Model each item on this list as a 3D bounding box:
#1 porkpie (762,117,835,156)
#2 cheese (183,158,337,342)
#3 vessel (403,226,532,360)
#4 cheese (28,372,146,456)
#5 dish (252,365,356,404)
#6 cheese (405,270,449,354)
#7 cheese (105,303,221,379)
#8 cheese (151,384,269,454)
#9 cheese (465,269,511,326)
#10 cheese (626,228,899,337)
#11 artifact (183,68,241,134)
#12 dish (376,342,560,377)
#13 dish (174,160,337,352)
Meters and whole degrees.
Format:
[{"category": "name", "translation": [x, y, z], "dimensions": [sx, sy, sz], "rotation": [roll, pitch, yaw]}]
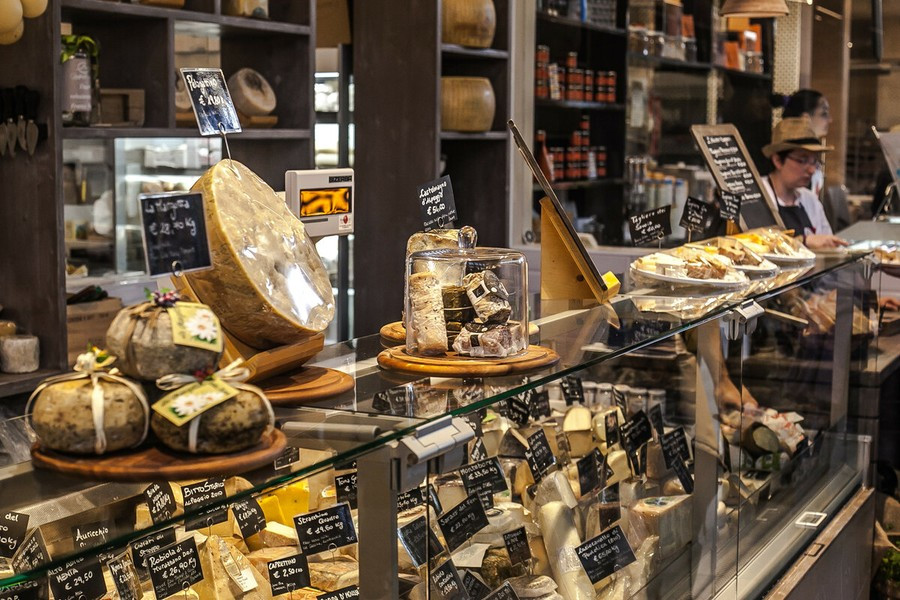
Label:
[{"category": "porkpie", "translation": [2.016, -0.970, 4.223], "dimensions": [0.301, 0.213, 0.442], "rotation": [0, 9, 22]}, {"category": "cheese", "translation": [-0.360, -0.105, 1.294], "dimensions": [0.097, 0.313, 0.308], "rotation": [-22, -41, 16]}, {"category": "vessel", "translation": [0.032, -0.018, 1.476], "dimensions": [0.226, 0.250, 0.223], "rotation": [0, -1, 1]}, {"category": "cheese", "translation": [-0.490, 0.145, 0.973], "dimensions": [0.139, 0.099, 0.145], "rotation": [5, 3, -1]}, {"category": "dish", "translation": [-0.249, 0.147, 1.240], "dimensions": [0.146, 0.026, 0.180], "rotation": [2, 10, 32]}, {"category": "cheese", "translation": [-0.046, 0.030, 1.418], "dimensions": [0.061, 0.169, 0.071], "rotation": [-5, -24, -9]}, {"category": "cheese", "translation": [-0.404, 0.061, 1.027], "dimensions": [0.150, 0.113, 0.156], "rotation": [2, 7, 20]}, {"category": "cheese", "translation": [-0.313, 0.131, 0.937], "dimensions": [0.094, 0.065, 0.115], "rotation": [9, 11, 20]}, {"category": "cheese", "translation": [0.073, 0.007, 1.425], "dimensions": [0.080, 0.104, 0.036], "rotation": [-13, -20, -25]}, {"category": "cheese", "translation": [0.841, -0.095, 2.081], "dimensions": [0.653, 0.288, 0.150], "rotation": [-5, -12, -34]}, {"category": "artifact", "translation": [-0.501, -0.416, 1.498], "dimensions": [0.100, 0.155, 0.162], "rotation": [-4, 8, -5]}, {"category": "dish", "translation": [0.036, 0.112, 1.382], "dimensions": [0.353, 0.038, 0.173], "rotation": [-4, 8, -4]}, {"category": "dish", "translation": [-0.371, -0.096, 1.293], "dimensions": [0.109, 0.321, 0.315], "rotation": [-22, -36, 17]}]
